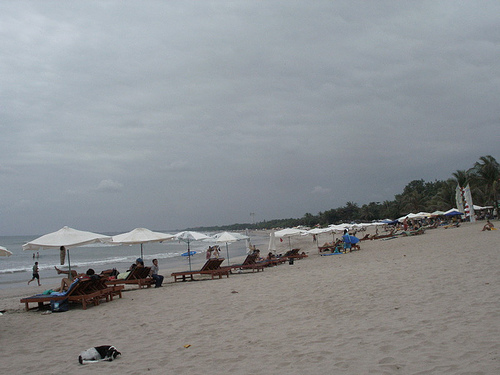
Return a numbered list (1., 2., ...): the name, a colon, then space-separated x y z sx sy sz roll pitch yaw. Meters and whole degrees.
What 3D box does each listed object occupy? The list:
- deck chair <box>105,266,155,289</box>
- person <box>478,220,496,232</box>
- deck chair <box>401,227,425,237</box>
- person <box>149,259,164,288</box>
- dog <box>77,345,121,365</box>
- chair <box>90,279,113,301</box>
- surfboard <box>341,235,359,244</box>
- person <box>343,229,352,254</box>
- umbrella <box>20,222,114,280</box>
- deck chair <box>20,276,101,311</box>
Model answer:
1. deck chair: -4.282 3.302 16.187 1.380 0.573 0.841 -1 -8 18
2. person: 15.469 2.502 29.105 0.842 0.470 1.107 -2 -8 22
3. deck chair: 12.004 3.228 32.230 1.029 0.369 0.758 -6 14 -4
4. person: -3.571 3.217 16.881 0.488 0.937 2.058 -1 -3 -13
5. dog: -2.952 3.278 8.689 0.510 0.203 0.362 7 -11 -8
6. chair: -4.494 3.001 13.350 0.565 0.792 0.838 -4 -7 14
7. surfboard: 5.673 2.931 24.875 0.679 0.306 0.500 3 -5 -14
8. person: 5.438 3.155 24.908 0.410 0.979 0.952 -2 -3 11
9. umbrella: -5.970 1.957 14.596 2.011 1.479 2.104 3 9 9
10. deck chair: -5.545 3.063 12.998 1.709 0.734 1.023 -4 -6 -8
